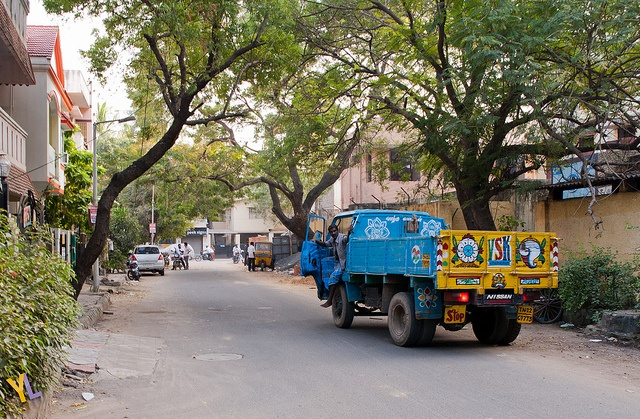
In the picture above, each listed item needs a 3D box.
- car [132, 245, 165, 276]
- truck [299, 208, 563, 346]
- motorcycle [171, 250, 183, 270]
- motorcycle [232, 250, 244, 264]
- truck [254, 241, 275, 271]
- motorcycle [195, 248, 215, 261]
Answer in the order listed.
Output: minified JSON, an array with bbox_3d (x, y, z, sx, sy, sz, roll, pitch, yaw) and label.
[{"bbox_3d":[-11.023,3.283,35.763,1.826,1.621,3.277,0,2,-17],"label":"car"},{"bbox_3d":[2.426,1.825,15.244,3.254,2.453,5.692,5,-5,-23],"label":"truck"},{"bbox_3d":[-11.657,4.218,45.972,0.910,1.511,2.023,-1,2,-13],"label":"motorcycle"},{"bbox_3d":[-9.251,5.431,63.587,1.406,1.713,2.766,1,-7,-28],"label":"motorcycle"},{"bbox_3d":[-4.138,3.391,41.534,1.220,1.286,2.161,1,3,-4],"label":"truck"},{"bbox_3d":[-13.945,5.666,69.378,1.684,1.620,2.663,0,-4,-43],"label":"motorcycle"}]
